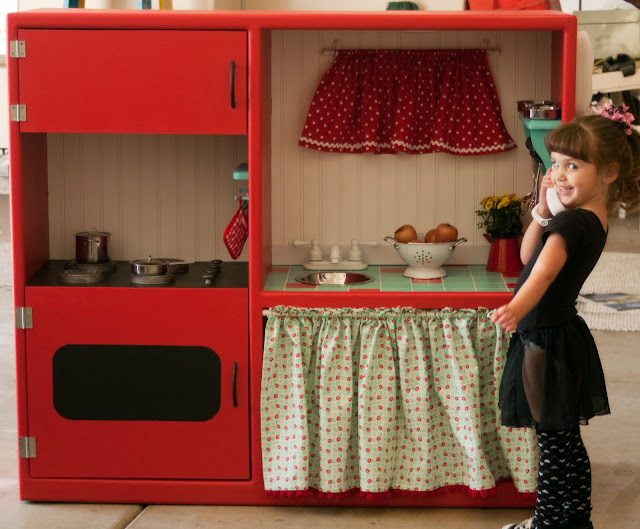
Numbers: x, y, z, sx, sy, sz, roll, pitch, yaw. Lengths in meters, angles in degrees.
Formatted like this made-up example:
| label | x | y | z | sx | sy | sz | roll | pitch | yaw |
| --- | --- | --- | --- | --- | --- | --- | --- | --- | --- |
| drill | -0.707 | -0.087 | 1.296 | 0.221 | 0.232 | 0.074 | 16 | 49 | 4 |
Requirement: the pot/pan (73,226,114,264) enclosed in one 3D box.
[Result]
| label | x | y | z | sx | sy | sz | roll | pitch | yaw |
| --- | --- | --- | --- | --- | --- | --- | --- | --- | --- |
| pot/pan | -1.025 | -0.068 | 3.009 | 0.180 | 0.155 | 0.168 | -5 | -4 | 9 |

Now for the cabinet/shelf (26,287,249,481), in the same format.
| label | x | y | z | sx | sy | sz | roll | pitch | yaw |
| --- | --- | --- | --- | --- | --- | --- | --- | --- | --- |
| cabinet/shelf | -0.619 | 0.386 | 3.021 | 1.257 | 0.917 | 0.718 | 0 | 3 | 1 |

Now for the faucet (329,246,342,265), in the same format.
| label | x | y | z | sx | sy | sz | roll | pitch | yaw |
| --- | --- | --- | --- | --- | --- | --- | --- | --- | --- |
| faucet | 0.066 | -0.040 | 3.058 | 0.078 | 0.093 | 0.074 | 0 | 5 | 4 |

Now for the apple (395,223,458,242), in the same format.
| label | x | y | z | sx | sy | sz | roll | pitch | yaw |
| --- | --- | --- | --- | --- | --- | --- | --- | --- | --- |
| apple | 0.452 | -0.146 | 2.906 | 0.255 | 0.084 | 0.102 | 1 | 5 | 14 |

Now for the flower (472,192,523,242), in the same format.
| label | x | y | z | sx | sy | sz | roll | pitch | yaw |
| --- | --- | --- | --- | --- | --- | --- | --- | --- | --- |
| flower | 0.802 | -0.216 | 2.983 | 0.194 | 0.205 | 0.206 | 1 | 15 | 29 |

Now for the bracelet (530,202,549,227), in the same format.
| label | x | y | z | sx | sy | sz | roll | pitch | yaw |
| --- | --- | --- | --- | --- | --- | --- | --- | --- | --- |
| bracelet | 0.783 | -0.178 | 2.408 | 0.062 | 0.026 | 0.079 | 12 | 45 | 24 |

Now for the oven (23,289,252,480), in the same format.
| label | x | y | z | sx | sy | sz | roll | pitch | yaw |
| --- | --- | --- | --- | --- | --- | --- | --- | --- | --- |
| oven | -0.641 | 0.407 | 3.051 | 1.265 | 0.927 | 0.714 | 0 | 3 | 1 |

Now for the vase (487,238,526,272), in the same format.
| label | x | y | z | sx | sy | sz | roll | pitch | yaw |
| --- | --- | --- | --- | --- | --- | --- | --- | --- | --- |
| vase | 0.801 | -0.053 | 2.978 | 0.169 | 0.148 | 0.160 | -3 | 12 | 3 |
